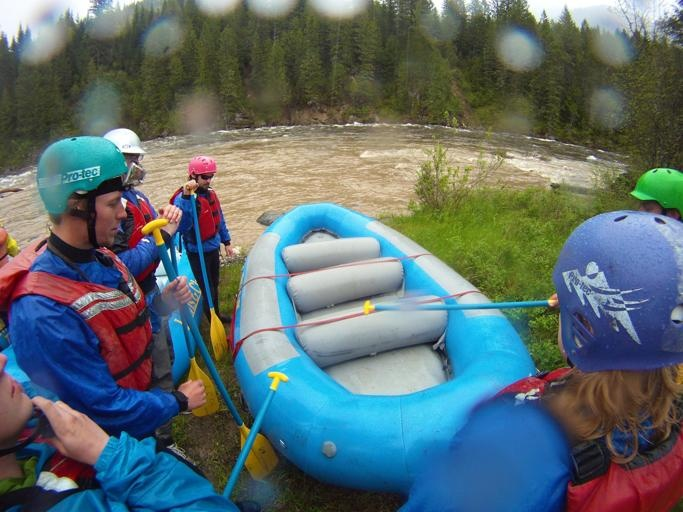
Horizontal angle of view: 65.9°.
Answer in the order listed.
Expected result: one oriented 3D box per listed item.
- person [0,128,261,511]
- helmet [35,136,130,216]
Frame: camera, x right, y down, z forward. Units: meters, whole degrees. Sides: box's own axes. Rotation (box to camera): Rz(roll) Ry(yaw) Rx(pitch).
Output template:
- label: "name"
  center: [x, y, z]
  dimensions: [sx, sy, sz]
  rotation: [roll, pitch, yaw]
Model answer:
- label: "person"
  center: [-1.211, 0.187, 2.601]
  dimensions: [0.617, 1.443, 0.769]
  rotation: [18, 27, 40]
- label: "helmet"
  center: [-1.288, -0.410, 2.676]
  dimensions: [0.397, 0.333, 0.335]
  rotation: [6, 9, -17]
